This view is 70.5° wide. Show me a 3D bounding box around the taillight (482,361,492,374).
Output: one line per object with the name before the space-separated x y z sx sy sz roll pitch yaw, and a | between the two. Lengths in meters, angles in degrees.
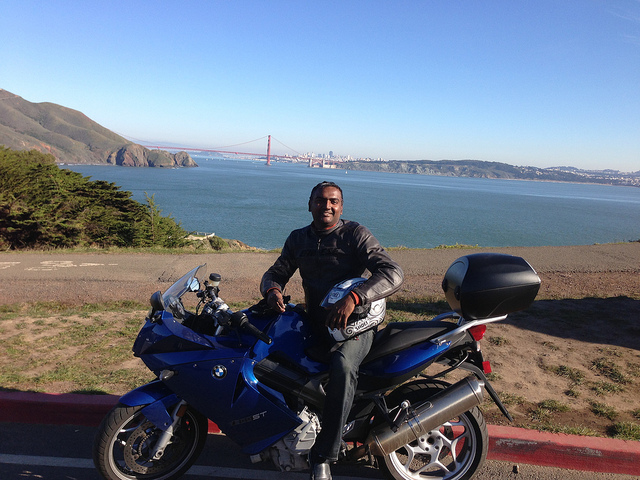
taillight | 1.492 1.149 4.054 0.068 0.120 0.169 6 8 20

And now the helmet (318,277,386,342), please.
helmet | 0.330 0.580 4.078 0.623 0.483 0.450 -18 -2 0

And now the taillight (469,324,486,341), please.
taillight | 1.408 0.833 4.105 0.124 0.133 0.155 -1 -25 -16
